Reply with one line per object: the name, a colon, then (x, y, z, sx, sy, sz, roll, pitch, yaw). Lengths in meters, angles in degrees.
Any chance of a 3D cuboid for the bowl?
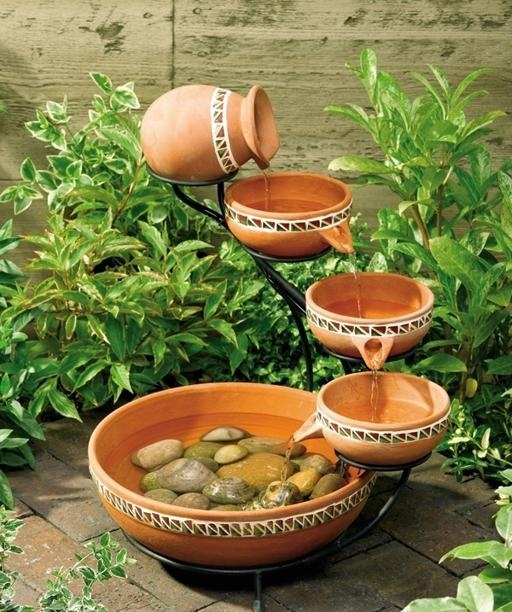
bowl: (-0.103, 0.470, 1.862, 0.722, 0.232, 0.741, -1, 20, 0)
